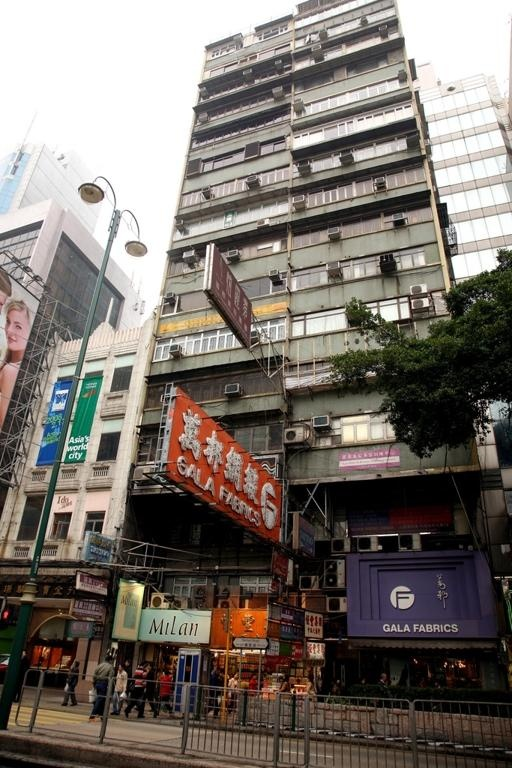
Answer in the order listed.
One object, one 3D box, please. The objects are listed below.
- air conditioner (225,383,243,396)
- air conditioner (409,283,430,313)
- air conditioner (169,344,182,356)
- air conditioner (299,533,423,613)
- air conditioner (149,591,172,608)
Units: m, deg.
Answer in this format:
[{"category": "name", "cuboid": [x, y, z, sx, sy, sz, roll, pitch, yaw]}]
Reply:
[{"category": "air conditioner", "cuboid": [-1.100, 0.198, 24.896, 0.798, 0.712, 0.655, -3, -28, 10]}, {"category": "air conditioner", "cuboid": [7.141, -3.800, 23.276, 0.812, 1.276, 0.603, -6, -28, 16]}, {"category": "air conditioner", "cuboid": [-4.122, -1.756, 27.344, 0.562, 0.646, 0.587, 2, -15, 4]}, {"category": "air conditioner", "cuboid": [3.718, 6.871, 19.211, 4.114, 2.517, 1.923, -7, -28, 17]}, {"category": "air conditioner", "cuboid": [-3.779, 8.580, 21.044, 0.634, 0.503, 0.662, 6, -32, -8]}]
